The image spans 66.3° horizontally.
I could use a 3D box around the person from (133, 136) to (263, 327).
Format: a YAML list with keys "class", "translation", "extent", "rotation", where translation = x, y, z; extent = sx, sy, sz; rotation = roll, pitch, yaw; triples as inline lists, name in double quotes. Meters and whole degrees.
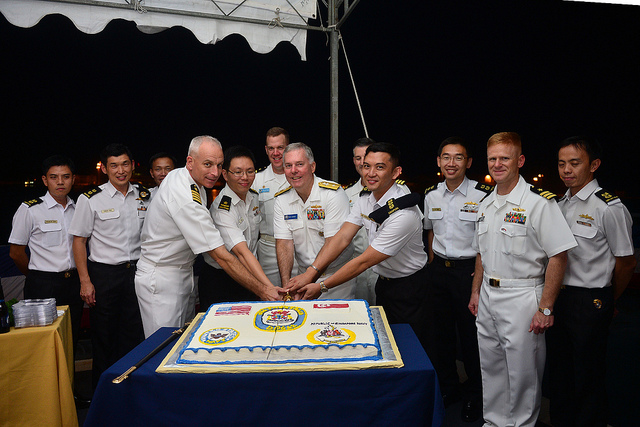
- class: "person"
  translation: [-1.126, 0.169, 4.159]
  extent: [0.958, 1.603, 0.270]
  rotation: [0, 7, 15]

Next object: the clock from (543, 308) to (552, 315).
- class: "clock"
  translation: [1.822, 0.775, 3.913]
  extent: [0.061, 0.053, 0.015]
  rotation: [-3, 7, -10]

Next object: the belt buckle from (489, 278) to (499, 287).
- class: "belt buckle"
  translation: [1.470, 0.574, 4.112]
  extent: [0.045, 0.060, 0.023]
  rotation: [7, 48, 25]

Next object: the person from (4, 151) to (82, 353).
- class: "person"
  translation: [-2.723, 0.316, 4.839]
  extent: [0.646, 1.754, 0.466]
  rotation: [-3, 7, -14]

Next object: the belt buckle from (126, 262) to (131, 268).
- class: "belt buckle"
  translation: [-1.879, 0.498, 4.787]
  extent: [0.042, 0.032, 0.015]
  rotation: [4, -1, -4]

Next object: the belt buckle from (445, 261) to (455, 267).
- class: "belt buckle"
  translation: [1.244, 0.477, 4.669]
  extent: [0.054, 0.052, 0.022]
  rotation: [0, 4, 38]

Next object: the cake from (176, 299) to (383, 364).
- class: "cake"
  translation: [-0.258, 0.831, 3.430]
  extent: [0.957, 0.129, 0.536]
  rotation: [-1, 23, 1]

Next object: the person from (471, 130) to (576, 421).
- class: "person"
  translation: [1.692, 0.529, 4.099]
  extent: [0.731, 2.403, 0.420]
  rotation: [0, 7, 19]

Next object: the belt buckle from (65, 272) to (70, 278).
- class: "belt buckle"
  translation: [-2.468, 0.591, 4.771]
  extent: [0.057, 0.057, 0.015]
  rotation: [0, -1, -28]
